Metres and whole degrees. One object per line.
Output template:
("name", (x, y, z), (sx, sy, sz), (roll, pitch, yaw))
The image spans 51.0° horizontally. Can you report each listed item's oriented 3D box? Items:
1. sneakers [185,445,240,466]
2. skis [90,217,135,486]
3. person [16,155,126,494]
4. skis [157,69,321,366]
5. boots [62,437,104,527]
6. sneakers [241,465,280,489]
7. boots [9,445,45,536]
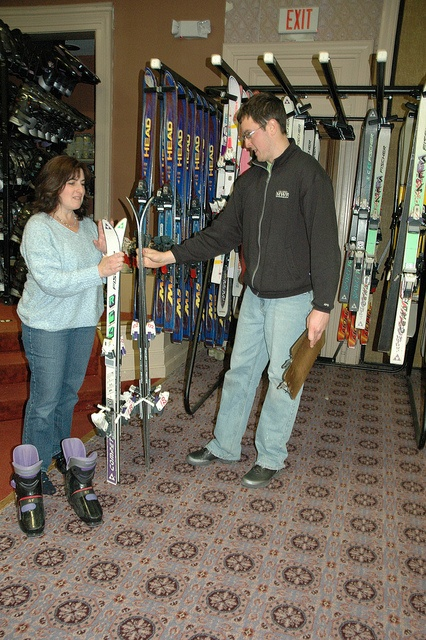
("sneakers", (0.000, 0.672, 2.228), (0.243, 0.108, 0.090), (7, 11, -16))
("skis", (-0.395, 0.138, 1.799), (0.169, 1.068, 0.135), (0, 10, -16))
("person", (-0.575, 0.060, 1.747), (0.346, 1.350, 0.449), (0, 8, -24))
("skis", (0.167, -0.352, 1.951), (0.177, 1.277, 0.188), (-18, 45, -30))
("boots", (-0.506, 0.623, 1.737), (0.100, 0.220, 0.307), (-6, 33, -41))
("sneakers", (0.200, 0.712, 2.018), (0.067, 0.069, 0.160), (19, 15, 31))
("boots", (-0.683, 0.630, 1.641), (0.085, 0.267, 0.174), (-6, -28, -19))
